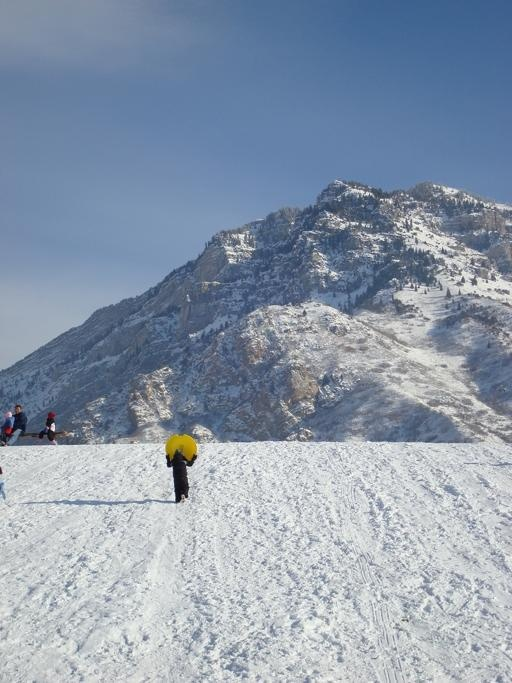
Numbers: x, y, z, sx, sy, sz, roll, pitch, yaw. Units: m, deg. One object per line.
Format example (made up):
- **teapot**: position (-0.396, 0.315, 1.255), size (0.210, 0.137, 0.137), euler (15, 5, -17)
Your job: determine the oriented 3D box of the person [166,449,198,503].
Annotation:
- **person**: position (-2.007, 3.567, 21.491), size (0.660, 1.345, 0.664), euler (-6, 8, -7)
